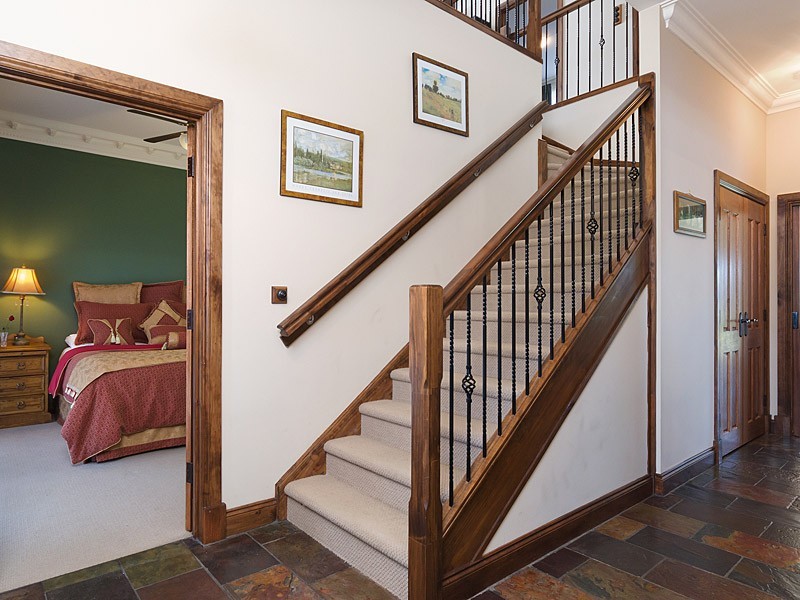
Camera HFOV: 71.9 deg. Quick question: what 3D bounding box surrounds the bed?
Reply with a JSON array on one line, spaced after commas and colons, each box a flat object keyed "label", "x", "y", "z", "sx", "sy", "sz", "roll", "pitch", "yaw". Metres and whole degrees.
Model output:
[{"label": "bed", "x": -2.376, "y": 0.904, "z": 4.702, "sx": 0.920, "sy": 0.419, "sz": 0.928, "roll": -3, "pitch": 4, "yaw": -31}]

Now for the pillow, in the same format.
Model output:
[{"label": "pillow", "x": -3.126, "y": 0.112, "z": 6.437, "sx": 1.184, "sy": 0.646, "sz": 0.700, "roll": -5, "pitch": 9, "yaw": -32}]

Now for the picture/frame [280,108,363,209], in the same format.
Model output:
[{"label": "picture/frame", "x": -0.575, "y": -0.988, "z": 3.833, "sx": 0.722, "sy": 0.641, "sz": 0.049, "roll": 2, "pitch": -2, "yaw": -41}]

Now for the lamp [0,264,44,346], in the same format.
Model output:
[{"label": "lamp", "x": -3.972, "y": 0.047, "z": 5.809, "sx": 0.380, "sy": 0.760, "sz": 0.470, "roll": -5, "pitch": 9, "yaw": -34}]

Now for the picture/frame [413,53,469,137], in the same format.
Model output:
[{"label": "picture/frame", "x": 0.308, "y": -1.690, "z": 4.510, "sx": 0.032, "sy": 0.648, "sz": 0.745, "roll": -2, "pitch": -3, "yaw": 43}]

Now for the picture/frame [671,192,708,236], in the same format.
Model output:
[{"label": "picture/frame", "x": 2.300, "y": -0.673, "z": 4.384, "sx": 0.090, "sy": 0.361, "sz": 0.580, "roll": 7, "pitch": 11, "yaw": 44}]
